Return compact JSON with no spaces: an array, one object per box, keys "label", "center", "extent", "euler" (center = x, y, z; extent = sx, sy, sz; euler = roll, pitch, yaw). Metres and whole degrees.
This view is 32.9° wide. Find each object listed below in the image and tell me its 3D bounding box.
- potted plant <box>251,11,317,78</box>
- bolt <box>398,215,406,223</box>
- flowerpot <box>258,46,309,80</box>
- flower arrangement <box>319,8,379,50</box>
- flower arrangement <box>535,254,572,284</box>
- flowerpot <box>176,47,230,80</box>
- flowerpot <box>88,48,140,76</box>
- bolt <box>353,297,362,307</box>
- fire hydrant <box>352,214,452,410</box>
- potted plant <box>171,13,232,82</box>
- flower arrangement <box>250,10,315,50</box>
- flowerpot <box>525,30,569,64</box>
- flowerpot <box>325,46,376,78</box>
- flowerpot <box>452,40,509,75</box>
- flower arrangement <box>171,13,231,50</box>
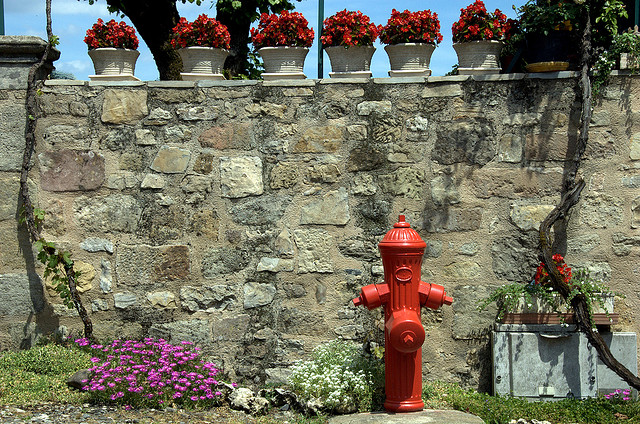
[{"label":"potted plant","center":[-0.369,-1.711,11.485],"extent":[0.642,0.670,0.671],"euler":[1,6,5]},{"label":"bolt","center":[0.801,0.063,10.526],"extent":[0.067,0.061,0.060],"euler":[0,2,-6]},{"label":"flowerpot","center":[-0.385,-1.561,11.458],"extent":[0.596,0.356,0.548],"euler":[1,2,30]},{"label":"flower arrangement","center":[0.316,-1.895,11.270],"extent":[0.606,0.402,0.323],"euler":[3,2,1]},{"label":"flower arrangement","center":[2.337,0.570,10.767],"extent":[0.360,0.310,0.281],"euler":[4,2,11]},{"label":"flowerpot","center":[-1.205,-1.567,11.351],"extent":[0.366,0.404,0.443],"euler":[3,11,42]},{"label":"flowerpot","center":[-2.230,-1.575,11.668],"extent":[0.582,0.273,0.567],"euler":[-3,-2,-29]},{"label":"bolt","center":[0.366,0.874,10.533],"extent":[0.080,0.075,0.074],"euler":[1,6,7]},{"label":"fire hydrant","center":[0.865,0.966,10.384],"extent":[0.910,2.113,0.630],"euler":[-1,-4,-1]},{"label":"potted plant","center":[-1.250,-1.720,11.304],"extent":[0.588,0.703,0.304],"euler":[3,3,-9]},{"label":"flower arrangement","center":[-0.390,-1.907,11.346],"extent":[0.635,0.431,0.231],"euler":[3,3,-7]},{"label":"flowerpot","center":[2.306,-1.701,11.004],"extent":[0.440,0.332,0.138],"euler":[4,3,13]},{"label":"flowerpot","center":[0.330,-1.555,11.508],"extent":[0.568,0.373,0.597],"euler":[0,-1,33]},{"label":"flowerpot","center":[1.654,-1.602,11.151],"extent":[0.550,0.369,0.155],"euler":[4,3,7]},{"label":"flower arrangement","center":[-1.249,-1.885,11.366],"extent":[0.600,0.375,0.226],"euler":[3,2,-9]}]
